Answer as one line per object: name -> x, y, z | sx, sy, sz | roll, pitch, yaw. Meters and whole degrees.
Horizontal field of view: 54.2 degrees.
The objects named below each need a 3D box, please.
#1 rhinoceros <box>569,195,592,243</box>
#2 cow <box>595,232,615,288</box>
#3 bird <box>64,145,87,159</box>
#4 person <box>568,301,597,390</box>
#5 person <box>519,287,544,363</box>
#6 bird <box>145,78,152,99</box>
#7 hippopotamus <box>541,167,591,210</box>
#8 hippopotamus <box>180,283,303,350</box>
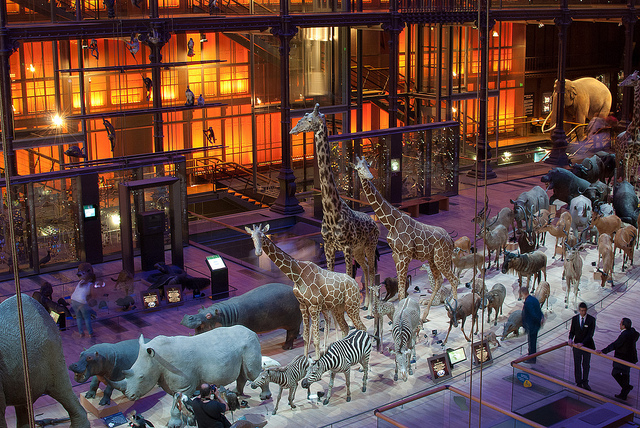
rhinoceros -> 7.868, 0.092, 18.897 | 0.592, 1.151, 2.142 | 5, 15, 19
cow -> 7.712, 1.172, 16.744 | 0.446, 0.806, 1.542 | -2, 53, 19
bird -> -7.583, -1.891, 19.346 | 0.416, 0.223, 0.445 | 2, 9, 5
person -> 5.387, 2.694, 12.782 | 0.500, 1.718, 0.568 | 2, 3, 37
person -> 4.577, 2.388, 13.579 | 0.511, 1.524, 0.514 | 0, -6, 33
bird -> -5.693, -4.225, 20.875 | 0.211, 0.540, 0.757 | -8, 10, -14
hippopotamus -> 8.522, -0.813, 20.840 | 2.471, 1.290, 0.878 | 3, 13, -5
hippopotamus -> -1.624, 2.373, 14.005 | 2.671, 1.566, 0.888 | -6, 10, -19
